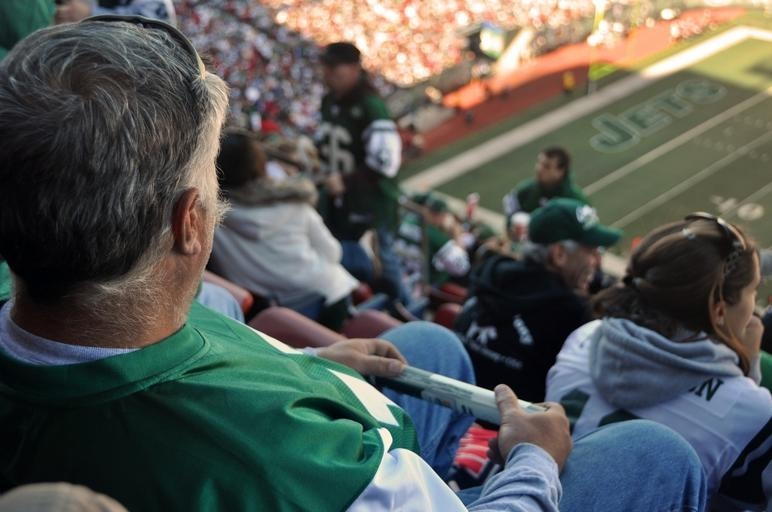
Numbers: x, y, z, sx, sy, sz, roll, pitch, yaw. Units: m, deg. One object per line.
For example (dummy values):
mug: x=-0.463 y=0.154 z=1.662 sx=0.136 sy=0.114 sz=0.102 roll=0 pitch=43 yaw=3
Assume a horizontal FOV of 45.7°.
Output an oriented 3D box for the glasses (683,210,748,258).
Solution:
glasses: x=1.008 y=-0.053 z=2.807 sx=0.147 sy=0.113 sz=0.063 roll=45 pitch=-23 yaw=15

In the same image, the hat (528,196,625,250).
hat: x=0.664 y=-0.129 z=3.262 sx=0.277 sy=0.132 sz=0.172 roll=-3 pitch=19 yaw=1
